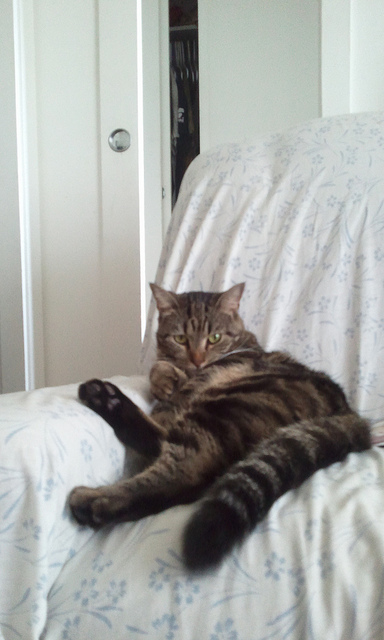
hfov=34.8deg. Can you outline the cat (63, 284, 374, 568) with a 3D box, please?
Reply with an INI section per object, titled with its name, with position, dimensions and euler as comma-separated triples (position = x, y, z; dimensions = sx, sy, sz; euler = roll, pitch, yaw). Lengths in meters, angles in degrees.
[cat]
position = 0.056, 0.110, 0.958
dimensions = 0.405, 0.225, 0.564
euler = -11, 15, -21
